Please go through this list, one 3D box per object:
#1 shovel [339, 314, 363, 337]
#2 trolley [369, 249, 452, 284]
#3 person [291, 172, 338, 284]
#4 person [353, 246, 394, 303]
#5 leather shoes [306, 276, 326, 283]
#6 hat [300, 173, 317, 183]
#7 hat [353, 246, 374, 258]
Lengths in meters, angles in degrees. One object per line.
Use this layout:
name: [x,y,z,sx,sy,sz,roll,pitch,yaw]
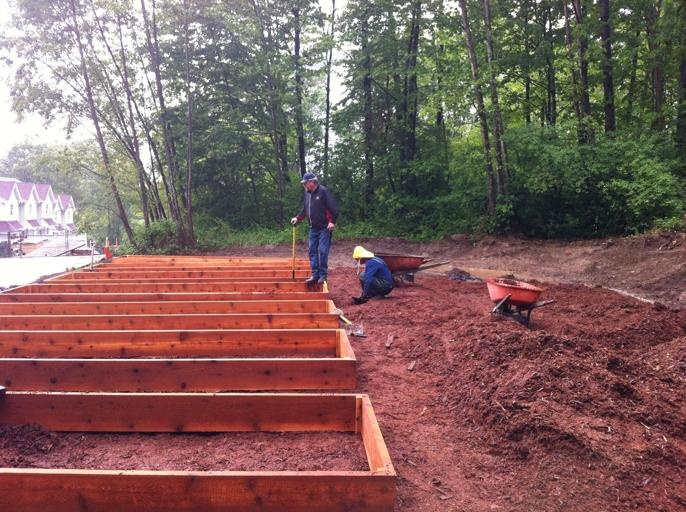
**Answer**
shovel: [0.174,1.387,13.798,0.475,0.185,0.382,0,1,-7]
trolley: [1.754,0.130,16.583,1.883,0.737,0.944,-2,-2,-10]
person: [-0.571,-0.599,15.641,0.905,2.506,1.422,-2,6,-3]
person: [0.610,0.441,15.489,0.992,1.248,0.894,1,-2,-34]
leather shoes: [-0.586,0.532,15.201,0.419,0.197,0.158,2,-4,-22]
hat: [-0.821,-1.748,15.514,0.385,0.215,0.291,8,13,31]
hat: [0.489,-0.056,15.579,0.424,0.333,1.014,-1,5,2]
